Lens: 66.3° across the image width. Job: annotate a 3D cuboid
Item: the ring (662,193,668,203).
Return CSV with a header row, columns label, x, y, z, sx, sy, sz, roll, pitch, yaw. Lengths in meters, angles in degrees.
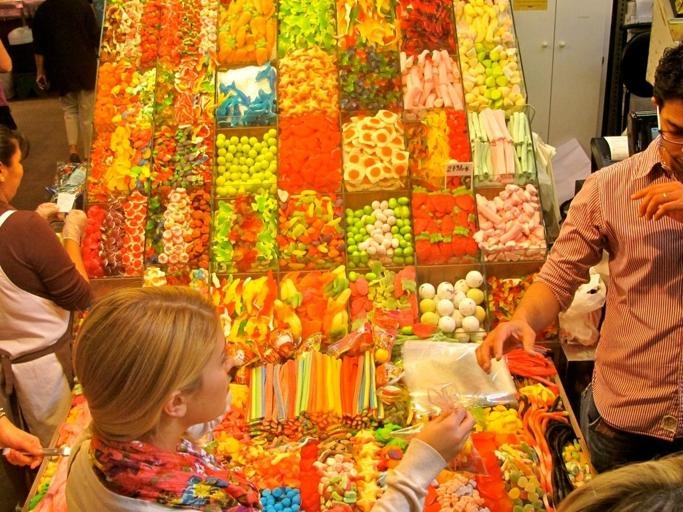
label,x,y,z,sx,sy,sz,roll,pitch,yaw
ring,1.001,-0.181,1.617,0.013,0.022,0.011,5,18,32
